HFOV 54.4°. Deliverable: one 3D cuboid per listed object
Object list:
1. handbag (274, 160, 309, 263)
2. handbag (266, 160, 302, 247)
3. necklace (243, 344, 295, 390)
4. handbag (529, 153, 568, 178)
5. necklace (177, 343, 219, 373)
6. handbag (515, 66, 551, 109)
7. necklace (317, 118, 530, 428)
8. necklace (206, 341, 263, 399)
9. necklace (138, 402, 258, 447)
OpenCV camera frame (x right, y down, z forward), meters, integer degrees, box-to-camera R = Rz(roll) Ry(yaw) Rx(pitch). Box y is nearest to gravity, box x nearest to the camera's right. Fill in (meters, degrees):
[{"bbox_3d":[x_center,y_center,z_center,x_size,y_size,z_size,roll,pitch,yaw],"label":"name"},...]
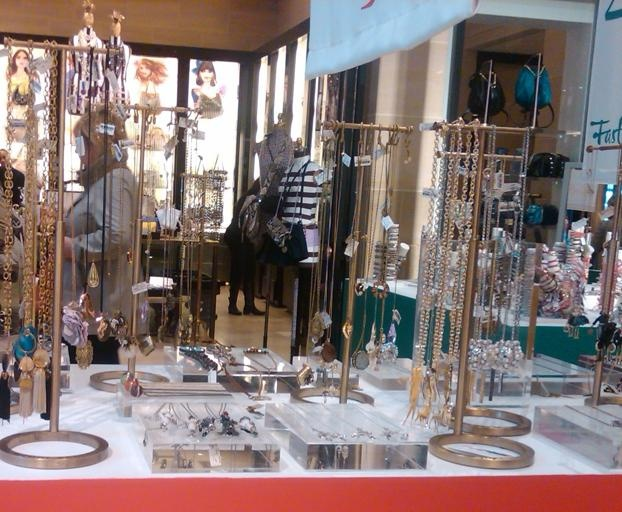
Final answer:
[{"bbox_3d":[-0.131,-0.284,3.686,0.262,0.663,0.089,6,-8,33],"label":"handbag"},{"bbox_3d":[-0.122,-0.290,3.553,0.244,0.589,0.056,-22,43,-38],"label":"handbag"},{"bbox_3d":[-0.191,0.474,2.582,0.251,0.063,0.175,8,8,-7],"label":"necklace"},{"bbox_3d":[1.230,-0.470,3.128,0.224,0.089,0.048,4,3,-5],"label":"handbag"},{"bbox_3d":[-0.456,0.393,2.410,0.071,0.059,0.209,-7,14,-24],"label":"necklace"},{"bbox_3d":[1.294,-0.931,3.502,0.199,0.296,0.163,6,-22,27],"label":"handbag"},{"bbox_3d":[0.533,-0.045,2.615,0.808,1.191,1.521,4,3,16],"label":"necklace"},{"bbox_3d":[-0.302,0.446,2.420,0.106,0.045,0.377,-2,8,-14],"label":"necklace"},{"bbox_3d":[-0.321,0.484,1.743,0.320,0.057,0.265,3,3,-21],"label":"necklace"}]
